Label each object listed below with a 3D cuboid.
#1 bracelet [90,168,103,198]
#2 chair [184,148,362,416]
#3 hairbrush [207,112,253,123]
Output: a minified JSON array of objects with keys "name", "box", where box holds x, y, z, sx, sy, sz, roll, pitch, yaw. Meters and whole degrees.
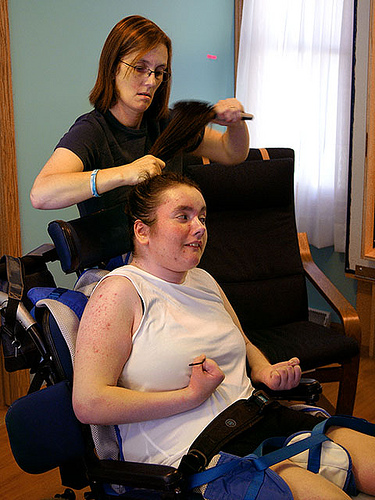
[{"name":"bracelet","box":[-0.218,-0.160,1.080,0.027,0.065,0.070,-5,11,-10]},{"name":"chair","box":[0.399,0.122,1.934,0.614,1.015,0.598,-7,12,-20]},{"name":"hairbrush","box":[0.120,-0.385,1.305,0.128,0.024,0.089,-1,11,3]}]
